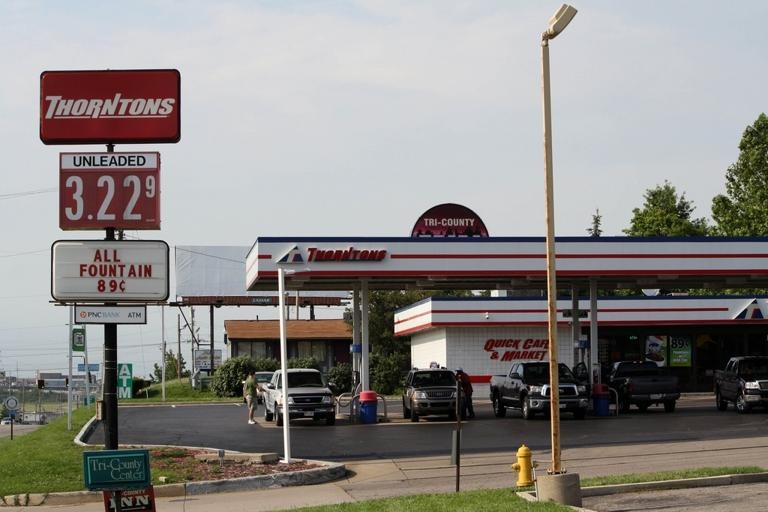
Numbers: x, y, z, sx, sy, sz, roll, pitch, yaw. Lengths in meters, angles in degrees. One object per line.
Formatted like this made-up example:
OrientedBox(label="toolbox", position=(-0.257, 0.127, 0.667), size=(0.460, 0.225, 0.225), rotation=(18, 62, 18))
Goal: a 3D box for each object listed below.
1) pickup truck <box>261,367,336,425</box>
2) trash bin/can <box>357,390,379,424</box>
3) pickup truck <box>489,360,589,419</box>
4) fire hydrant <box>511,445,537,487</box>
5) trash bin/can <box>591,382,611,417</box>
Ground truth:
OrientedBox(label="pickup truck", position=(-3.723, 5.836, 55.640), size=(2.582, 1.993, 5.799), rotation=(-1, 0, -12))
OrientedBox(label="trash bin/can", position=(-0.654, 6.288, 53.924), size=(0.676, 1.406, 1.002), rotation=(-2, -8, -7))
OrientedBox(label="pickup truck", position=(6.577, 5.712, 55.131), size=(2.868, 2.180, 5.745), rotation=(0, -3, -14))
OrientedBox(label="fire hydrant", position=(4.021, 6.075, 37.154), size=(0.776, 1.187, 0.432), rotation=(0, -9, -18))
OrientedBox(label="trash bin/can", position=(9.197, 6.126, 54.864), size=(0.904, 1.284, 0.876), rotation=(3, -9, -16))
